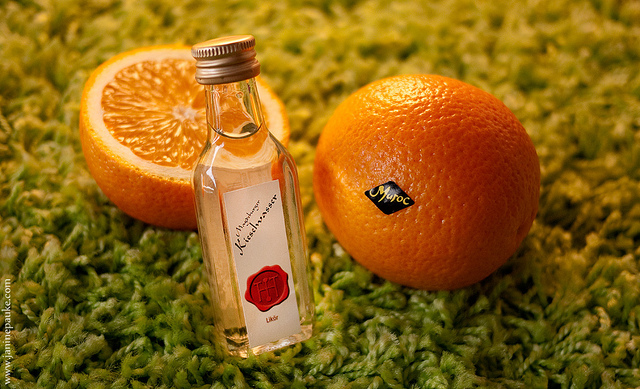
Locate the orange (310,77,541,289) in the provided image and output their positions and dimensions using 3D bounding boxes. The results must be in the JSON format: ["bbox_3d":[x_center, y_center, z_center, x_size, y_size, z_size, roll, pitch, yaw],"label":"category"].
[{"bbox_3d":[0.209,-0.020,1.187,0.443,0.248,0.378,4,64,4],"label":"orange"}]
